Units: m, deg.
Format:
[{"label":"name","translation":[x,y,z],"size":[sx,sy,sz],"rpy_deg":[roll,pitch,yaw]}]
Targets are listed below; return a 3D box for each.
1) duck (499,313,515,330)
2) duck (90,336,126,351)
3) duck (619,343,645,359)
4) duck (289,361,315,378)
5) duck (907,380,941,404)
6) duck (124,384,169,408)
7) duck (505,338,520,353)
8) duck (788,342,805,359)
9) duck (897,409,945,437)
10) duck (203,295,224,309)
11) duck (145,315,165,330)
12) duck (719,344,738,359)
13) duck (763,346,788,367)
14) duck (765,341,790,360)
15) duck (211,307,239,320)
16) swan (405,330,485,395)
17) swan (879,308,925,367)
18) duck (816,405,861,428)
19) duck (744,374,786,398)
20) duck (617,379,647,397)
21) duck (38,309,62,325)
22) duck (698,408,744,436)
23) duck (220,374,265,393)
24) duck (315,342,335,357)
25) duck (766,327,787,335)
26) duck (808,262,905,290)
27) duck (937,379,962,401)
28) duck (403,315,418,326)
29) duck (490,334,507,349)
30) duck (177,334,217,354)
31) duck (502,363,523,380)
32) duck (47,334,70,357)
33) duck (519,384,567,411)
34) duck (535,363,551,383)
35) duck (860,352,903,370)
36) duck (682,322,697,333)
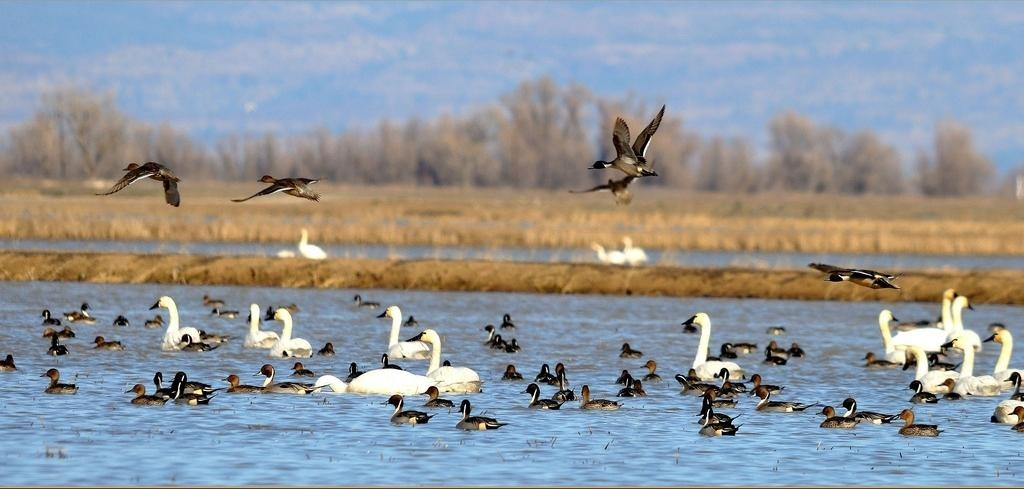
[{"label":"duck","translation":[-0.241,2.977,56.453],"size":[0.709,0.603,0.558],"rpy_deg":[8,17,39]},{"label":"duck","translation":[-14.764,3.556,53.094],"size":[1.370,0.482,0.460],"rpy_deg":[6,0,25]},{"label":"duck","translation":[4.378,3.874,53.514],"size":[0.833,0.455,0.528],"rpy_deg":[8,-8,-19]},{"label":"duck","translation":[-7.395,4.312,50.551],"size":[1.159,0.381,0.386],"rpy_deg":[14,4,21]},{"label":"duck","translation":[13.927,4.963,49.400],"size":[0.989,0.483,1.023],"rpy_deg":[2,16,11]},{"label":"duck","translation":[-12.087,4.972,48.077],"size":[1.523,0.677,0.493],"rpy_deg":[8,-4,19]},{"label":"duck","translation":[-0.032,3.627,53.551],"size":[0.592,0.480,0.440],"rpy_deg":[-1,17,-1]},{"label":"duck","translation":[10.459,3.783,53.869],"size":[0.656,0.455,0.945],"rpy_deg":[2,16,10]},{"label":"duck","translation":[13.091,5.802,46.950],"size":[1.428,0.802,0.734],"rpy_deg":[-2,-15,27]},{"label":"duck","translation":[-12.402,2.367,60.166],"size":[0.819,0.386,1.288],"rpy_deg":[-17,1,-18]},{"label":"duck","translation":[-13.876,2.985,56.476],"size":[0.432,0.440,0.760],"rpy_deg":[3,-2,10]},{"label":"duck","translation":[7.928,3.937,53.595],"size":[0.513,0.600,0.446],"rpy_deg":[-8,22,29]},{"label":"duck","translation":[9.456,4.103,53.017],"size":[0.442,0.653,1.299],"rpy_deg":[-8,-15,41]},{"label":"duck","translation":[9.645,3.834,53.318],"size":[1.020,0.542,0.523],"rpy_deg":[8,-1,2]},{"label":"duck","translation":[-11.578,2.717,58.079],"size":[1.402,0.484,0.466],"rpy_deg":[2,-29,31]},{"label":"swan","translation":[-2.432,4.146,50.571],"size":[3.539,2.039,1.330],"rpy_deg":[7,4,35]},{"label":"swan","translation":[14.350,3.485,54.270],"size":[0.976,1.721,2.448],"rpy_deg":[-3,5,-20]},{"label":"duck","translation":[10.568,5.664,47.422],"size":[1.250,0.611,0.609],"rpy_deg":[0,-19,16]},{"label":"duck","translation":[8.523,4.750,50.040],"size":[1.597,0.560,0.520],"rpy_deg":[4,-6,37]},{"label":"duck","translation":[4.143,4.855,49.573],"size":[0.642,0.279,0.767],"rpy_deg":[7,10,31]},{"label":"duck","translation":[-17.748,2.661,55.973],"size":[0.699,0.628,1.752],"rpy_deg":[-7,16,-18]},{"label":"duck","translation":[6.511,5.709,46.607],"size":[1.108,0.655,0.678],"rpy_deg":[3,17,16]},{"label":"duck","translation":[-9.138,4.603,49.279],"size":[1.155,0.478,1.006],"rpy_deg":[-4,16,-13]},{"label":"duck","translation":[-6.850,3.697,53.252],"size":[0.691,0.468,1.278],"rpy_deg":[-3,15,-8]},{"label":"duck","translation":[10.204,3.318,56.706],"size":[0.468,0.181,0.398],"rpy_deg":[1,2,44]},{"label":"duck","translation":[11.597,1.102,49.841],"size":[2.175,1.210,2.646],"rpy_deg":[-2,15,-4]},{"label":"duck","translation":[14.926,4.865,49.548],"size":[0.663,0.629,0.630],"rpy_deg":[4,17,17]},{"label":"duck","translation":[-4.025,2.975,57.548],"size":[0.345,0.271,0.435],"rpy_deg":[4,23,-1]},{"label":"duck","translation":[-0.526,3.556,53.916],"size":[0.408,0.460,0.903],"rpy_deg":[-11,18,-29]},{"label":"duck","translation":[-11.513,3.576,53.134],"size":[1.227,0.400,0.591],"rpy_deg":[2,-5,13]},{"label":"duck","translation":[-0.027,4.439,50.832],"size":[0.468,0.410,0.685],"rpy_deg":[4,0,-7]},{"label":"duck","translation":[-16.298,3.541,52.329],"size":[0.552,0.965,0.446],"rpy_deg":[-10,-15,-1]},{"label":"duck","translation":[1.034,4.977,48.658],"size":[1.124,0.749,1.155],"rpy_deg":[-2,16,-3]},{"label":"duck","translation":[1.088,4.510,50.485],"size":[0.338,0.829,0.379],"rpy_deg":[5,3,-3]},{"label":"duck","translation":[13.299,4.162,52.797],"size":[1.302,0.540,0.959],"rpy_deg":[3,16,15]},{"label":"duck","translation":[6.905,3.263,57.049],"size":[0.374,0.388,1.081],"rpy_deg":[0,-4,7]}]
